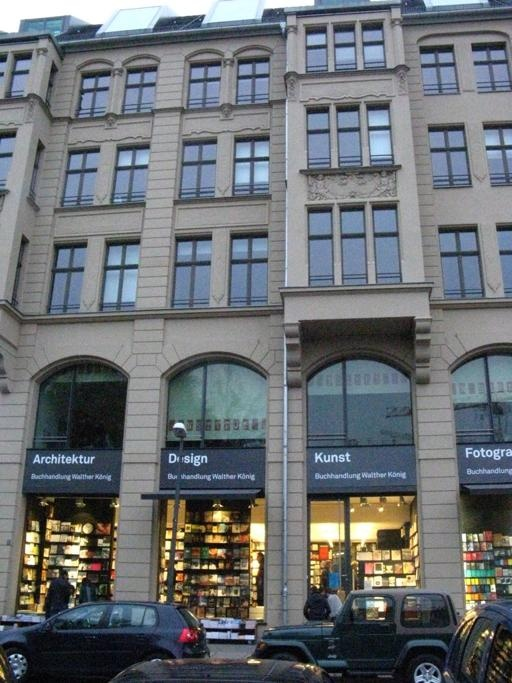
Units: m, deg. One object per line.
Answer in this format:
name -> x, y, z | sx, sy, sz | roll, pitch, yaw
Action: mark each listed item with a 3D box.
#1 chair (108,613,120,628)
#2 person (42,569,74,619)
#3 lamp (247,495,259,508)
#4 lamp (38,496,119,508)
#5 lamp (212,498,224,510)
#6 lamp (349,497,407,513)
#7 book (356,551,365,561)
chair -> -2.257, 4.499, 10.577 | 0.155, 0.209, 0.155 | 2, 9, 9
person -> -4.387, 5.787, 14.700 | 0.504, 1.336, 0.422 | 4, -3, -8
lamp -> -0.045, 4.501, 18.222 | 0.254, 0.183, 0.574 | 5, -23, -8
lamp -> -5.191, 4.724, 19.241 | 2.144, 0.296, 0.691 | 3, -22, -4
lamp -> -1.061, 4.632, 18.659 | 0.271, 0.275, 0.266 | -6, -22, 14
lamp -> 3.232, 4.261, 17.170 | 1.509, 0.397, 0.206 | 0, -23, 4
book -> 2.704, 5.498, 16.913 | 0.302, 0.160, 0.198 | 0, 19, 1
